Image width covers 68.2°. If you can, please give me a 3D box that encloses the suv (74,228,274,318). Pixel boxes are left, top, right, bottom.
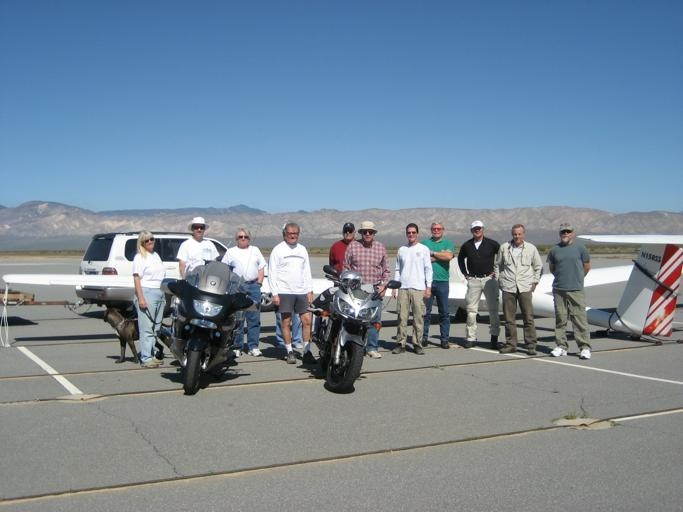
[{"bbox_3d":[-4.551,0.281,13.411,4.260,1.526,2.112,-2,1,-38],"label":"suv"}]

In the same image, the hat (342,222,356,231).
[{"bbox_3d":[0.102,-0.495,8.737,0.143,0.176,0.191,-1,15,2],"label":"hat"}]

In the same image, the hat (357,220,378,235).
[{"bbox_3d":[0.431,-0.497,8.799,0.309,0.216,0.451,0,2,1],"label":"hat"}]

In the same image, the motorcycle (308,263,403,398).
[{"bbox_3d":[0.048,0.982,7.103,0.765,1.636,1.342,0,3,-14],"label":"motorcycle"}]

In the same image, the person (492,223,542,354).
[{"bbox_3d":[3.265,0.594,9.363,0.755,2.373,1.373,1,3,20],"label":"person"}]

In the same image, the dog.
[{"bbox_3d":[-3.352,1.327,8.441,0.369,0.720,1.460,-10,-14,38],"label":"dog"}]

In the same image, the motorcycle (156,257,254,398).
[{"bbox_3d":[-2.014,0.868,7.588,1.339,1.677,3.275,13,4,-10],"label":"motorcycle"}]

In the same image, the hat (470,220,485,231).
[{"bbox_3d":[2.545,-0.584,9.598,0.228,0.157,0.331,-10,-3,16],"label":"hat"}]

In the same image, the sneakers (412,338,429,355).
[{"bbox_3d":[1.407,1.701,9.187,0.141,0.258,0.394,1,-19,-5],"label":"sneakers"}]

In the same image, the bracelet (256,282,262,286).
[{"bbox_3d":[-1.440,0.495,8.770,0.054,0.026,0.073,12,-17,-28],"label":"bracelet"}]

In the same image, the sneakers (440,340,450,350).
[{"bbox_3d":[1.930,1.689,9.514,0.139,0.120,0.307,-1,-12,5],"label":"sneakers"}]

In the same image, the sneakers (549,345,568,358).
[{"bbox_3d":[3.811,1.688,8.887,0.382,0.147,0.142,5,-10,-29],"label":"sneakers"}]

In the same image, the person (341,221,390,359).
[{"bbox_3d":[0.417,0.670,9.017,1.056,2.543,0.829,1,5,18],"label":"person"}]

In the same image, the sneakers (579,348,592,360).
[{"bbox_3d":[4.119,1.675,8.615,0.150,0.100,0.241,-6,-2,32],"label":"sneakers"}]

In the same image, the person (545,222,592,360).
[{"bbox_3d":[3.960,0.605,8.822,0.744,2.314,0.634,2,3,25],"label":"person"}]

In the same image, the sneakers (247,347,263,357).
[{"bbox_3d":[-1.537,1.715,8.918,0.108,0.109,0.287,11,-11,-43],"label":"sneakers"}]

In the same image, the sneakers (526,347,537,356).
[{"bbox_3d":[3.336,1.703,8.916,0.168,0.139,0.101,3,-5,6],"label":"sneakers"}]

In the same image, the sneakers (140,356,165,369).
[{"bbox_3d":[-2.993,1.707,7.980,0.352,0.127,0.143,-5,-5,19],"label":"sneakers"}]

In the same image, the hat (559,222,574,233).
[{"bbox_3d":[3.831,-0.477,8.688,0.190,0.167,0.332,1,2,24],"label":"hat"}]

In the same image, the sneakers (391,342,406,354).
[{"bbox_3d":[1.019,1.688,9.133,0.120,0.131,0.338,-6,-15,27],"label":"sneakers"}]

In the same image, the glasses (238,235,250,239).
[{"bbox_3d":[-1.688,-0.322,8.727,0.120,0.059,0.246,2,2,37],"label":"glasses"}]
